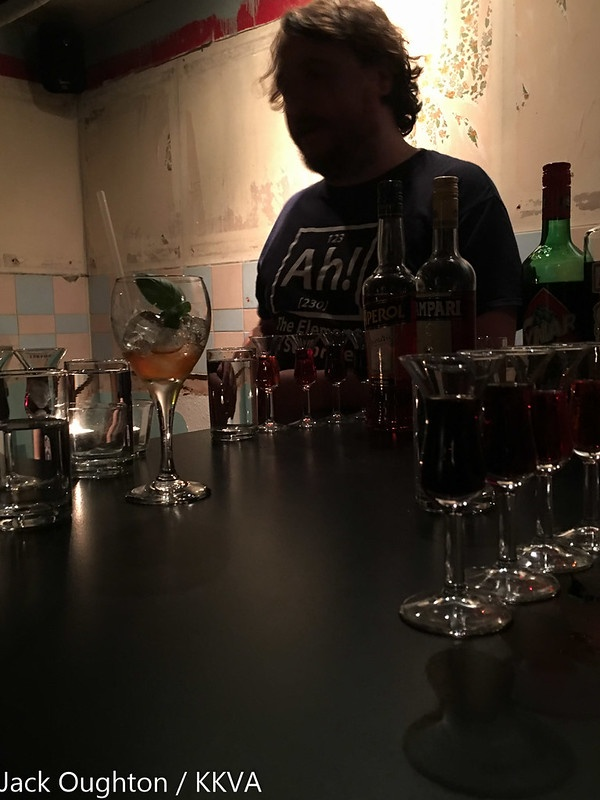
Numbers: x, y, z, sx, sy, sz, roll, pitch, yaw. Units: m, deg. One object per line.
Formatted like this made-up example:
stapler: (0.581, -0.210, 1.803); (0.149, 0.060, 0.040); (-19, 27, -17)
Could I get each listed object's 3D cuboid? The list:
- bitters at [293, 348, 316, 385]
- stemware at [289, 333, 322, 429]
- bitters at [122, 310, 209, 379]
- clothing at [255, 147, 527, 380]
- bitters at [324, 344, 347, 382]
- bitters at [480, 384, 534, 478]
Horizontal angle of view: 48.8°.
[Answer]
bitters: (0.008, -0.055, 1.149); (0.033, 0.069, 0.045); (-1, 5, -4)
stemware: (0.010, -0.037, 1.160); (0.053, 0.158, 0.053); (-5, 8, -23)
bitters: (-0.143, -0.053, 0.686); (0.102, 0.079, 0.109); (-1, -1, -8)
clothing: (0.231, -0.362, 2.051); (1.024, 0.810, 0.408); (5, 8, 41)
bitters: (0.074, -0.068, 1.182); (0.056, 0.083, 0.053); (0, -2, 9)
bitters: (0.137, 0.022, 0.431); (0.039, 0.063, 0.039); (-2, 6, 13)
